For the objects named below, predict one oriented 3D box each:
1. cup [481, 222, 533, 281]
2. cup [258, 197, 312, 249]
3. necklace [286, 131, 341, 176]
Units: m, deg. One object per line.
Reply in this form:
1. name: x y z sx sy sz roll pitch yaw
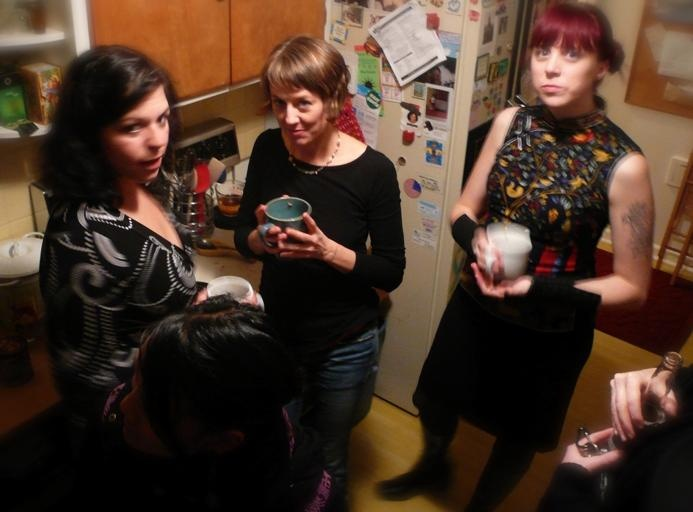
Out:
1. cup: 0.391 -0.014 1.213 0.118 0.126 0.134 -2 30 3
2. cup: -0.148 -0.095 1.266 0.095 0.096 0.148 19 36 26
3. necklace: -0.095 -0.293 1.396 0.153 0.111 0.051 2 15 -5
